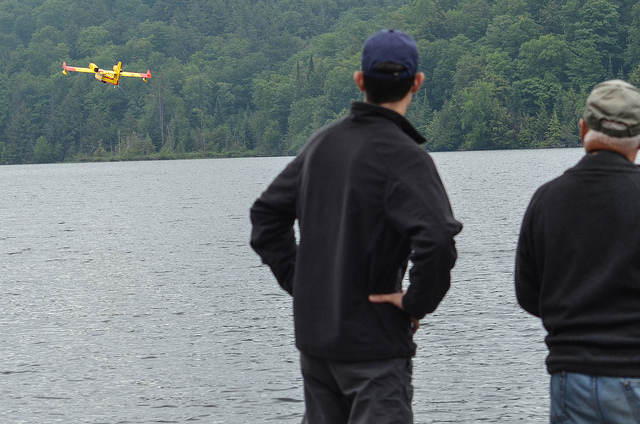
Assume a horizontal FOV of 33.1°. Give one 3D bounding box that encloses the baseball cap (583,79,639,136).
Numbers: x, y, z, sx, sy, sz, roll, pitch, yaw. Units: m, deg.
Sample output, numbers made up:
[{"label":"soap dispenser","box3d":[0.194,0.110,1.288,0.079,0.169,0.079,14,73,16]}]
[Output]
[{"label":"baseball cap","box3d":[2.629,-0.920,9.683,0.449,0.272,0.560,6,31,7]}]
